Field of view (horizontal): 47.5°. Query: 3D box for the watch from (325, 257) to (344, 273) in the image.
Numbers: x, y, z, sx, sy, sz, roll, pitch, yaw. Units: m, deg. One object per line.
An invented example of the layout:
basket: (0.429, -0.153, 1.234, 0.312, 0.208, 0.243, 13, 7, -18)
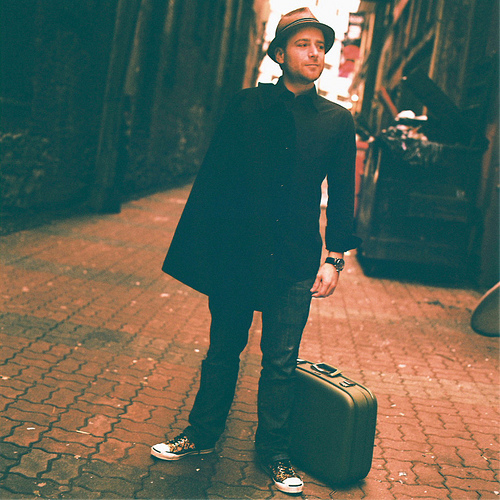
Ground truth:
watch: (0.468, 0.083, 3.150, 0.083, 0.052, 0.087, 20, -12, -30)

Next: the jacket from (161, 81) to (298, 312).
jacket: (-0.070, -0.298, 3.071, 0.628, 1.174, 0.234, 12, 13, 15)

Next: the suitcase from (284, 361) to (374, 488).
suitcase: (0.409, 0.976, 3.349, 0.252, 0.608, 0.685, -1, 10, -38)

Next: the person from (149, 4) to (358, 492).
person: (0.056, -0.034, 3.103, 0.954, 2.538, 0.556, 11, 12, 9)
